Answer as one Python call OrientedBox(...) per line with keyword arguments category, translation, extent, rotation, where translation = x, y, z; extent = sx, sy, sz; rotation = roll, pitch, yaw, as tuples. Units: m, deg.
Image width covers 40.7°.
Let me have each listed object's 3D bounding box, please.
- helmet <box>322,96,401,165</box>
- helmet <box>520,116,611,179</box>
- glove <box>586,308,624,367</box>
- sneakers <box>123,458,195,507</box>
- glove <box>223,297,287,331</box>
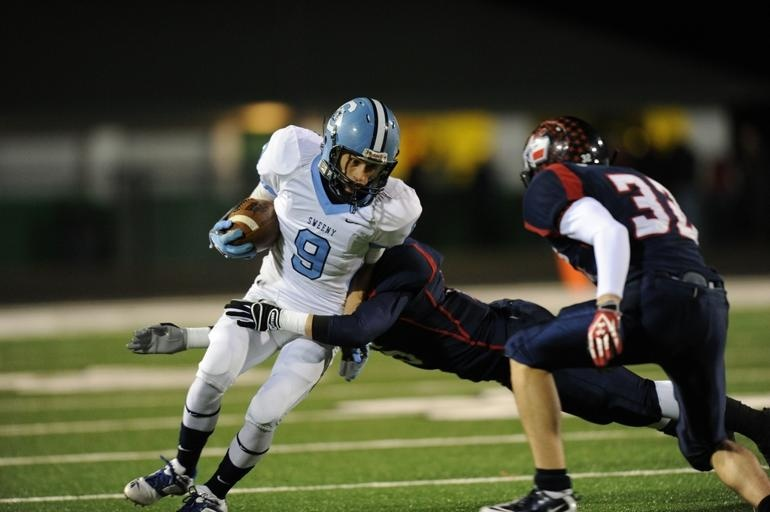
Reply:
OrientedBox(category="helmet", translation=(-0.162, -0.862, 7.217), extent=(0.411, 0.445, 0.522), rotation=(1, 22, -38))
OrientedBox(category="helmet", translation=(1.325, -0.750, 7.393), extent=(0.508, 0.443, 0.395), rotation=(20, 8, 22))
OrientedBox(category="glove", translation=(1.407, 0.533, 6.701), extent=(0.232, 0.352, 0.115), rotation=(4, -4, 20))
OrientedBox(category="sneakers", translation=(-1.571, 1.547, 7.143), extent=(0.552, 0.274, 0.236), rotation=(-6, 51, -48))
OrientedBox(category="glove", translation=(-0.906, 0.422, 7.148), extent=(0.396, 0.224, 0.197), rotation=(-2, 10, -5))
